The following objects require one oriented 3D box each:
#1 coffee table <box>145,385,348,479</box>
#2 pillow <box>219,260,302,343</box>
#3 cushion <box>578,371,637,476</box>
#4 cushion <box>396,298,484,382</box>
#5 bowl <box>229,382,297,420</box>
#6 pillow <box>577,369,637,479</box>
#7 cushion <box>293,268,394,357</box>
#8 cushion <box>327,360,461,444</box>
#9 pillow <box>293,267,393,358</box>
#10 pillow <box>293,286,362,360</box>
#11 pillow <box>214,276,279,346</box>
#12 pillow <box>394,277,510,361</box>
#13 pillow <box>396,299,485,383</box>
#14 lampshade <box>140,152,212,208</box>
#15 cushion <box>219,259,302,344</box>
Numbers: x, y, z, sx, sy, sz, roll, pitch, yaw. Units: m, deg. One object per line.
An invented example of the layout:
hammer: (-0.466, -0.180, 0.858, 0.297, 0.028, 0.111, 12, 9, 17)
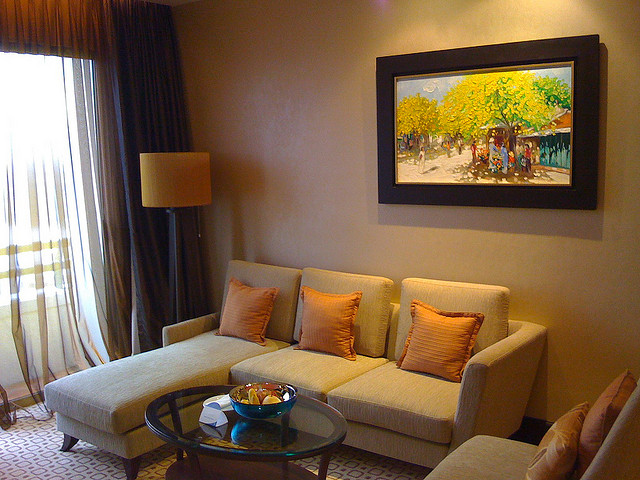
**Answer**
coffee table: (-0.370, 1.047, 2.716, 0.752, 0.434, 0.578, 6, 16, 24)
pillow: (-0.409, 0.508, 4.164, 0.656, 0.703, 0.255, 0, -8, 22)
cushion: (1.184, 0.710, 2.025, 0.098, 0.339, 0.343, 21, -29, 23)
cushion: (0.812, 0.710, 3.378, 0.527, 0.523, 0.269, 7, -1, 38)
bowl: (-0.277, 0.952, 2.790, 0.308, 0.122, 0.310, -5, -5, 0)
pillow: (1.195, 0.714, 2.021, 0.101, 0.349, 0.354, 21, -27, 24)
cushion: (0.281, 0.596, 4.015, 0.253, 0.618, 0.753, 10, -5, -40)
cushion: (0.508, 1.055, 3.196, 0.794, 0.238, 0.464, 4, 8, 28)
pillow: (0.205, 0.584, 3.793, 0.578, 0.486, 0.193, 4, -7, 28)
pillow: (0.084, 0.647, 3.754, 0.460, 0.459, 0.189, 1, -9, 28)
pillow: (-0.637, 0.605, 4.157, 0.474, 0.463, 0.269, 8, 11, 22)
pillow: (0.940, 0.556, 3.369, 0.556, 0.420, 0.199, 1, 1, 38)
pillow: (0.811, 0.721, 3.375, 0.517, 0.491, 0.270, 8, 4, 33)
lampshade: (-1.316, -0.567, 4.491, 0.605, 0.500, 0.604, 7, 13, 34)
cushion: (-0.456, 0.568, 4.033, 0.677, 0.702, 0.267, 7, -11, 24)
